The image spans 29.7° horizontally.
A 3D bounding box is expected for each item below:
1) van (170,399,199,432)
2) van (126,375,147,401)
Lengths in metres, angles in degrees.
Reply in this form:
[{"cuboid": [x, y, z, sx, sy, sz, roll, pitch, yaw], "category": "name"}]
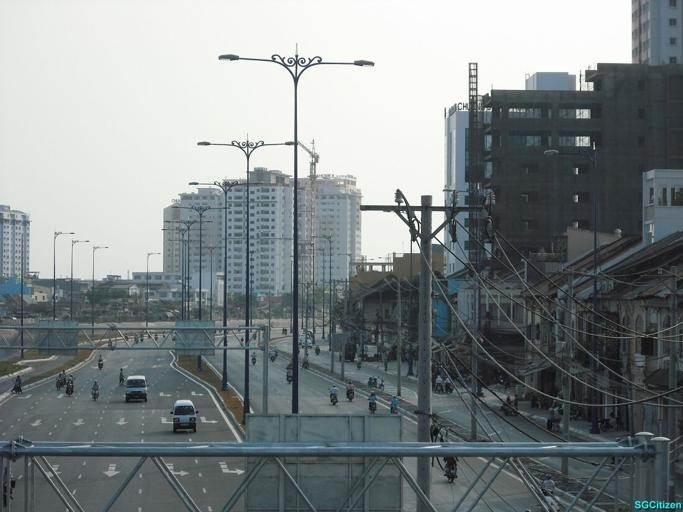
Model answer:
[{"cuboid": [-11.337, 11.506, 92.730, 1.650, 2.132, 1.863, -1, -3, -12], "category": "van"}, {"cuboid": [-17.482, 11.314, 109.650, 1.742, 2.052, 2.514, -1, -3, -11], "category": "van"}]
